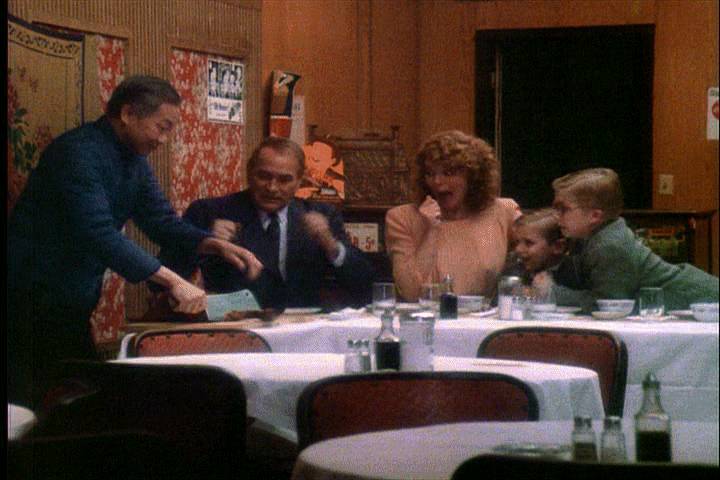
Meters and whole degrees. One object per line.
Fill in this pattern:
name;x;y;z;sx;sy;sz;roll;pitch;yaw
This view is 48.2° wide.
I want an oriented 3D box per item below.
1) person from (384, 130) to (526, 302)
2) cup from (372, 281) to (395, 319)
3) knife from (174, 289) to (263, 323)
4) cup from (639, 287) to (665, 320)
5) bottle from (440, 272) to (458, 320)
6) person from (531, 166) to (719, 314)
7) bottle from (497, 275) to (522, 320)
person;0.439;0.132;3.468;0.621;1.168;0.361;0;0;-3
cup;0.087;0.213;2.974;0.091;0.113;0.095;1;-1;0
knife;-0.549;0.256;3.057;0.390;0.168;0.043;-2;-24;-32
cup;1.027;0.226;2.869;0.089;0.114;0.096;3;-7;0
bottle;0.327;0.213;2.980;0.080;0.165;0.086;-2;6;0
person;1.087;0.012;3.058;0.780;0.558;0.321;7;6;20
bottle;0.556;0.212;3.007;0.082;0.155;0.086;0;5;0
